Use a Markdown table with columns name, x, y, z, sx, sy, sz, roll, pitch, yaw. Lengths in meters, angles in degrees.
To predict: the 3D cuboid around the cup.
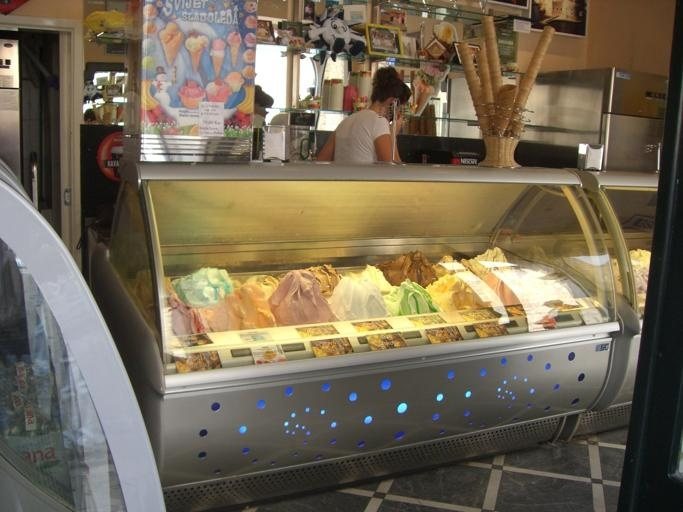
| name | x | y | z | sx | sy | sz | roll | pitch | yaw |
| --- | --- | --- | --- | --- | --- | --- | --- | --- | --- |
| cup | 0.785 | -0.893 | 2.508 | 0.426 | 0.578 | 0.286 | 7 | 19 | 19 |

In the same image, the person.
| name | x | y | z | sx | sy | sz | roll | pitch | yaw |
| --- | --- | --- | --- | --- | --- | --- | --- | --- | --- |
| person | 0.109 | -0.820 | 2.990 | 0.565 | 0.595 | 0.924 | 3 | 18 | 6 |

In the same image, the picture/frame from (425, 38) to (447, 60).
| name | x | y | z | sx | sy | sz | roll | pitch | yaw |
| --- | --- | --- | --- | --- | --- | --- | --- | --- | --- |
| picture/frame | 0.787 | -1.729 | 4.204 | 0.182 | 0.175 | 0.089 | 3 | 18 | 7 |

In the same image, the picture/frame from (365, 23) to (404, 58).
| name | x | y | z | sx | sy | sz | roll | pitch | yaw |
| --- | --- | --- | --- | --- | --- | --- | --- | --- | --- |
| picture/frame | 0.327 | -1.702 | 4.004 | 0.421 | 0.285 | 0.042 | -4 | -2 | -38 |
